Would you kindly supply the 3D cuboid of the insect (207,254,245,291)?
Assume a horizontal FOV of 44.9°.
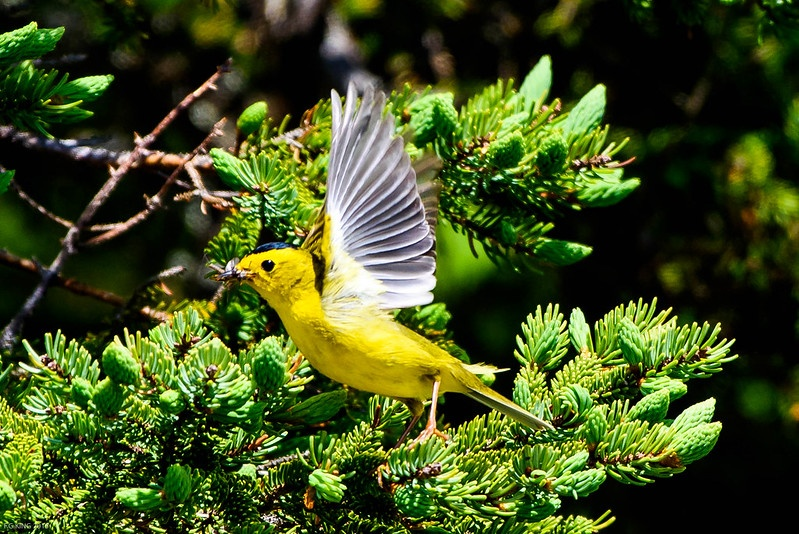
[{"bbox_3d":[-0.831,0.046,4.589,0.159,0.087,0.148,-21,30,-36],"label":"insect"}]
